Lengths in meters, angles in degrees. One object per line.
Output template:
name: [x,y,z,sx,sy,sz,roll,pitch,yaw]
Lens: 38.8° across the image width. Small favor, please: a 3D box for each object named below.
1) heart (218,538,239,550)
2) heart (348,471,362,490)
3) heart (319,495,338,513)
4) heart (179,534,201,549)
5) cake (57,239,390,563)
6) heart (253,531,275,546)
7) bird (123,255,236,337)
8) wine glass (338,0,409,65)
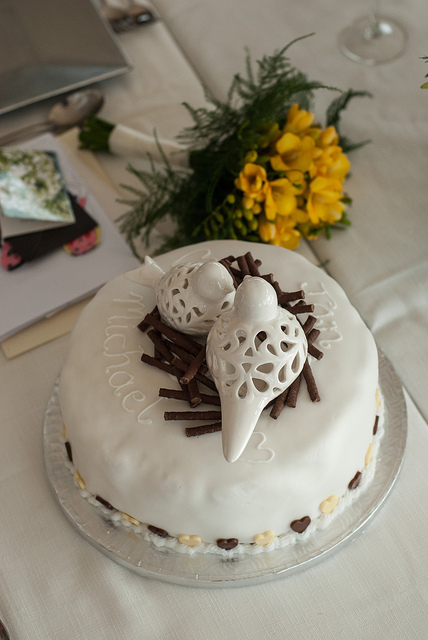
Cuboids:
heart: [0.022,0.367,1.000,0.035,0.028,0.005,4,51,-2]
heart: [0.243,0.277,1.048,0.009,0.020,0.036,16,59,46]
heart: [0.189,0.305,1.016,0.035,0.029,0.011,-33,30,-24]
heart: [-0.039,0.365,1.010,0.041,0.033,0.008,6,47,6]
cake: [0.013,0.082,1.088,0.624,0.326,0.553,-4,50,-9]
heart: [0.081,0.358,1.003,0.031,0.024,0.009,-16,38,-14]
bird: [-0.064,-0.073,1.001,0.165,0.114,0.105,29,54,6]
wine glass: [0.435,-0.797,1.695,0.159,0.111,0.197,-19,48,-11]
